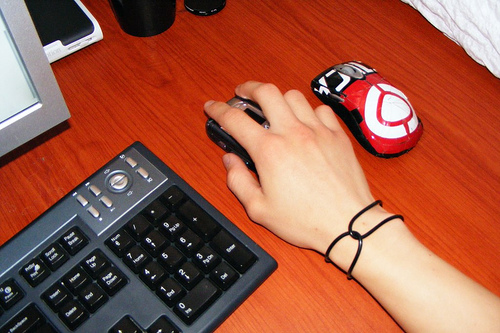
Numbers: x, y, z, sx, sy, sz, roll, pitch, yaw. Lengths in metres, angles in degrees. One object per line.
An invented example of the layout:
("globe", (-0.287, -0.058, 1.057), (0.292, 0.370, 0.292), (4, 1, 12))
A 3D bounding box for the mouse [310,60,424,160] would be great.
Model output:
("mouse", (0.219, -0.093, 0.823), (0.125, 0.073, 0.229), (-30, 72, -19))

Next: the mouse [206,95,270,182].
("mouse", (-0.014, -0.052, 0.771), (0.105, 0.043, 0.145), (-39, 86, -29))
